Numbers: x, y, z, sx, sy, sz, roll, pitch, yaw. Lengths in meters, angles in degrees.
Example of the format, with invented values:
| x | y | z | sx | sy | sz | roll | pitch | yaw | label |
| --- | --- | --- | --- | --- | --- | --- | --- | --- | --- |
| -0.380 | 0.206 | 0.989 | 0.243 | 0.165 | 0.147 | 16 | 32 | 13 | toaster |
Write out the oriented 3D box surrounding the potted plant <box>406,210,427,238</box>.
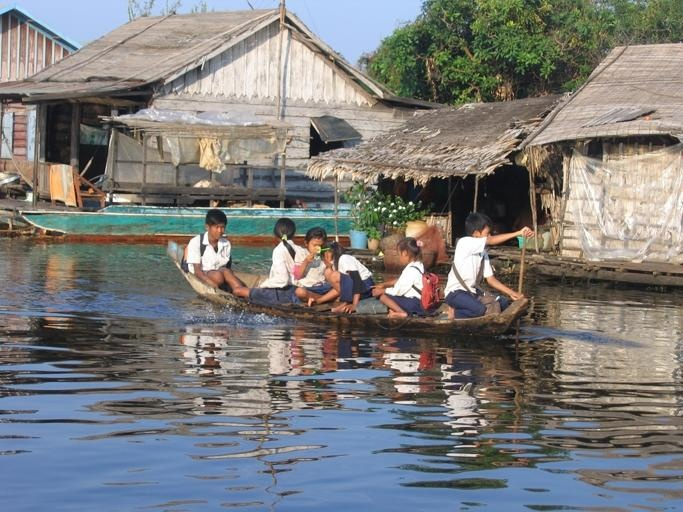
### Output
| x | y | z | sx | sy | sz | roll | pitch | yaw | label |
| --- | --- | --- | --- | --- | --- | --- | --- | --- | --- |
| 1.584 | -0.646 | 28.181 | 0.440 | 0.497 | 0.809 | 1 | -3 | 3 | potted plant |

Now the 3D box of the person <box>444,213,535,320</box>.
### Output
| x | y | z | sx | sy | sz | roll | pitch | yaw | label |
| --- | --- | --- | --- | --- | --- | --- | --- | --- | --- |
| 2.158 | 0.150 | 20.957 | 1.067 | 1.621 | 0.786 | 1 | -2 | 6 | person |

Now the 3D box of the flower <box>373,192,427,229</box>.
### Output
| x | y | z | sx | sy | sz | roll | pitch | yaw | label |
| --- | --- | --- | --- | --- | --- | --- | --- | --- | --- |
| 1.203 | -0.940 | 28.804 | 1.127 | 0.471 | 0.913 | 5 | 8 | 5 | flower |

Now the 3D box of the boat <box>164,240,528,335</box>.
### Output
| x | y | z | sx | sy | sz | roll | pitch | yaw | label |
| --- | --- | --- | --- | --- | --- | --- | --- | --- | --- |
| 0.087 | 0.570 | 22.459 | 7.301 | 0.787 | 1.387 | 4 | 4 | 26 | boat |

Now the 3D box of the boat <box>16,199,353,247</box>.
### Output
| x | y | z | sx | sy | sz | roll | pitch | yaw | label |
| --- | --- | --- | --- | --- | --- | --- | --- | --- | --- |
| -3.717 | -0.703 | 30.291 | 8.034 | 0.789 | 1.565 | 1 | -1 | -15 | boat |
